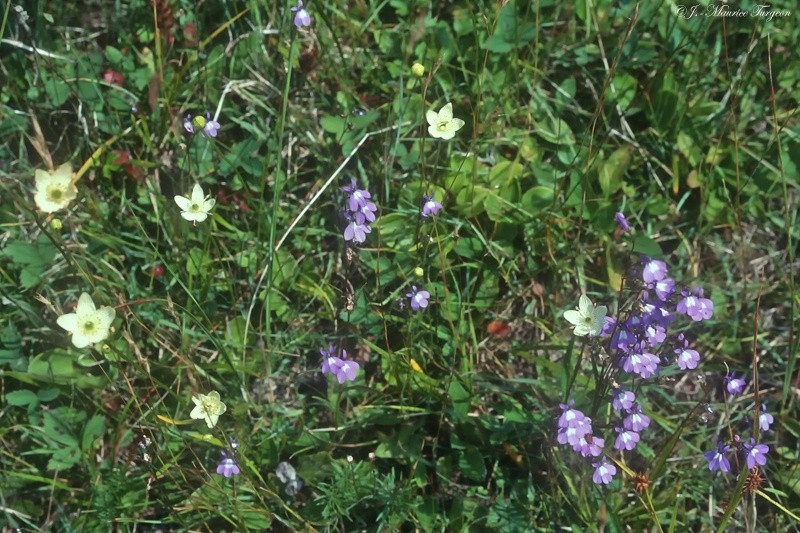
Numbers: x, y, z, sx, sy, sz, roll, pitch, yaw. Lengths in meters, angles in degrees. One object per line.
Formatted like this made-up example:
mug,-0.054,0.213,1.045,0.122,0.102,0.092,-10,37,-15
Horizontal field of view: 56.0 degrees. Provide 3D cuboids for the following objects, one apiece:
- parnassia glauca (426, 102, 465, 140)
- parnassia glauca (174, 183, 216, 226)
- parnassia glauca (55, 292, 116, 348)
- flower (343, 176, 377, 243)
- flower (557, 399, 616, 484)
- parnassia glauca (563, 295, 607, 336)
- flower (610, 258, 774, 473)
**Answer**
parnassia glauca,0.233,-0.887,4.543,0.228,0.242,0.115,-8,72,-5
parnassia glauca,-1.239,-0.368,4.546,0.189,0.125,0.291,-2,77,-8
parnassia glauca,-1.754,0.337,4.243,0.280,0.124,0.337,29,42,-6
flower,-0.244,-0.300,4.364,0.176,0.132,0.376,-18,90,-7
flower,1.014,1.055,4.297,0.281,0.106,0.524,-31,89,-37
parnassia glauca,1.028,0.292,4.155,0.202,0.128,0.214,-30,69,-18
flower,1.409,0.396,3.981,0.760,0.382,1.389,-13,99,-6
